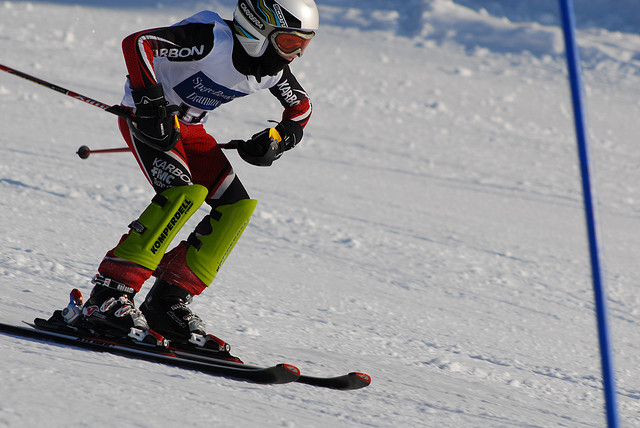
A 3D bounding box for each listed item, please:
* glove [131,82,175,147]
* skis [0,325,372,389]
[{"bbox_3d":[-1.779,-1.088,10.018,0.467,0.646,0.417,2,-12,-2],"label":"glove"},{"bbox_3d":[-1.615,1.594,9.988,3.126,0.130,0.297,10,13,-8],"label":"skis"}]
